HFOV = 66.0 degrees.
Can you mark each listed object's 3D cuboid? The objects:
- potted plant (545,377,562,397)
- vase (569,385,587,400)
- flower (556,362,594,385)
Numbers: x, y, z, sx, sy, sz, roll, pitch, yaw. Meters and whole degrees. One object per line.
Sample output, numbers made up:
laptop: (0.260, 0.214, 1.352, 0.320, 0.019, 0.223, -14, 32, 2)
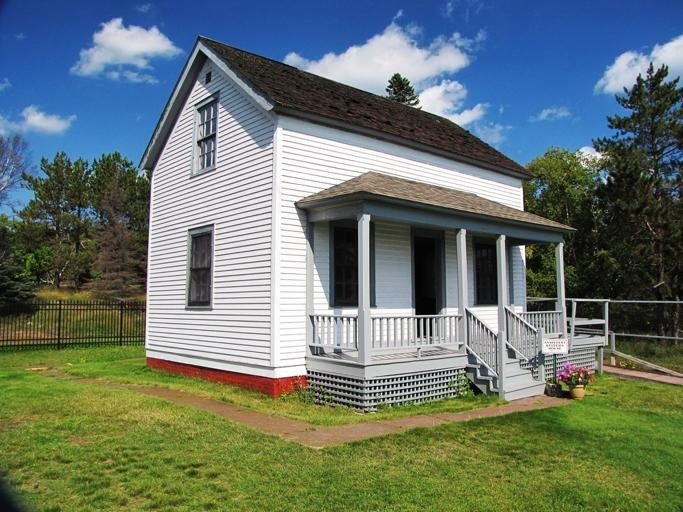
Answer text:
potted plant: (5.994, 3.695, 14.865, 0.431, 0.473, 0.303, 6, -9, -42)
vase: (6.421, 3.698, 14.288, 0.345, 0.297, 0.371, 0, -10, 14)
flower: (6.423, 3.288, 14.546, 0.798, 0.633, 0.828, 4, -2, -25)
